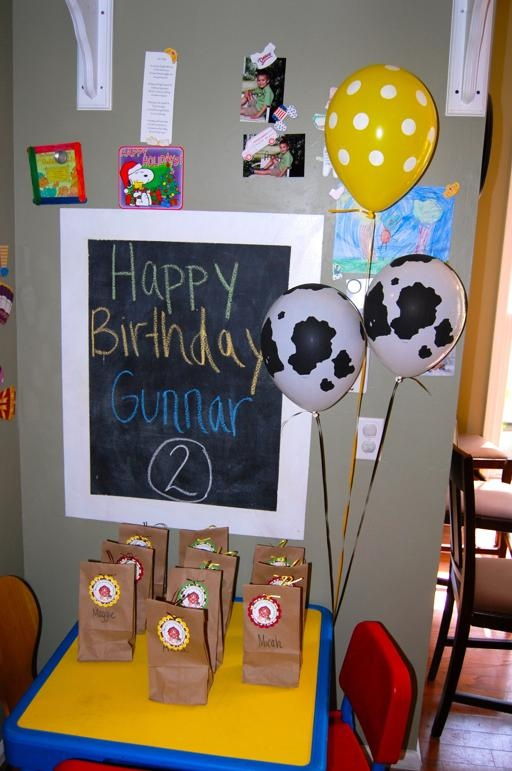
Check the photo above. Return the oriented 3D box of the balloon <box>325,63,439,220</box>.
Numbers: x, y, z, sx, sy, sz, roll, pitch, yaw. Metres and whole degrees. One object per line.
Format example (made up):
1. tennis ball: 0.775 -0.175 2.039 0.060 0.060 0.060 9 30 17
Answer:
1. balloon: 0.290 -0.590 1.405 0.255 0.394 0.281 -3 10 -12

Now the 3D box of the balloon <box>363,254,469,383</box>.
1. balloon: 0.350 -0.181 1.455 0.231 0.355 0.252 7 7 19

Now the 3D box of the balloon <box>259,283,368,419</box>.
1. balloon: 0.139 -0.087 1.476 0.226 0.338 0.251 -6 7 14
